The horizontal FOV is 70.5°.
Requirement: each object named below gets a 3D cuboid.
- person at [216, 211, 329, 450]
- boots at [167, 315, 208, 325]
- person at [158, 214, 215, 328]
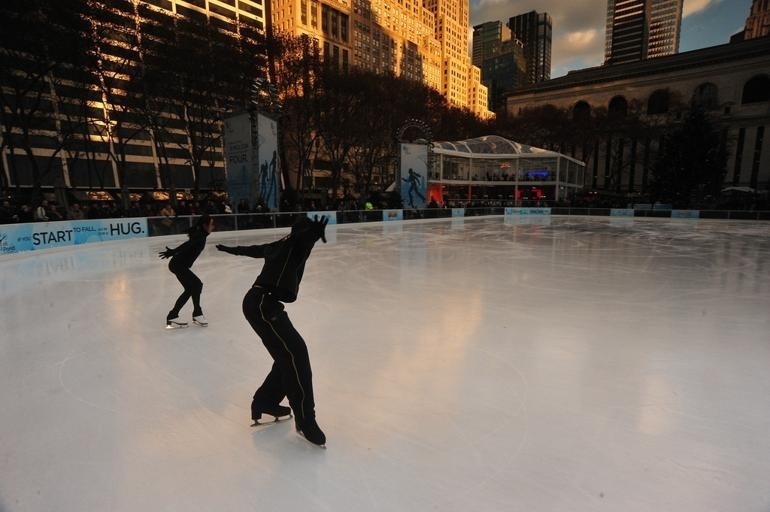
[{"bbox_3d":[-1.507,1.120,8.279,1.284,3.383,0.603,1,11,15],"label":"person"},{"bbox_3d":[-4.053,1.358,11.234,0.806,0.306,0.292,0,1,-5],"label":"boots"},{"bbox_3d":[-4.081,0.251,11.292,1.044,2.239,1.443,-6,11,-22],"label":"person"}]
